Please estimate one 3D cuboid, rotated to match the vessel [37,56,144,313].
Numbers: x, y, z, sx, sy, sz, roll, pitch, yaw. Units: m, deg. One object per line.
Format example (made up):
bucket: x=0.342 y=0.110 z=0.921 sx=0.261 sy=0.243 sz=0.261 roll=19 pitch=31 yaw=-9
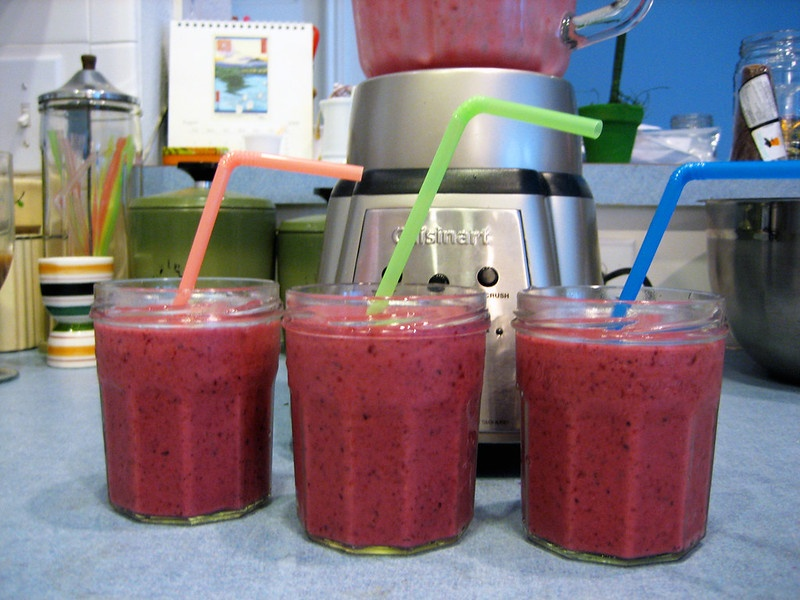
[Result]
vessel: x=-0.497 y=-0.218 z=1.277 sx=0.159 sy=0.355 sz=0.157 roll=-3 pitch=10 yaw=-18
